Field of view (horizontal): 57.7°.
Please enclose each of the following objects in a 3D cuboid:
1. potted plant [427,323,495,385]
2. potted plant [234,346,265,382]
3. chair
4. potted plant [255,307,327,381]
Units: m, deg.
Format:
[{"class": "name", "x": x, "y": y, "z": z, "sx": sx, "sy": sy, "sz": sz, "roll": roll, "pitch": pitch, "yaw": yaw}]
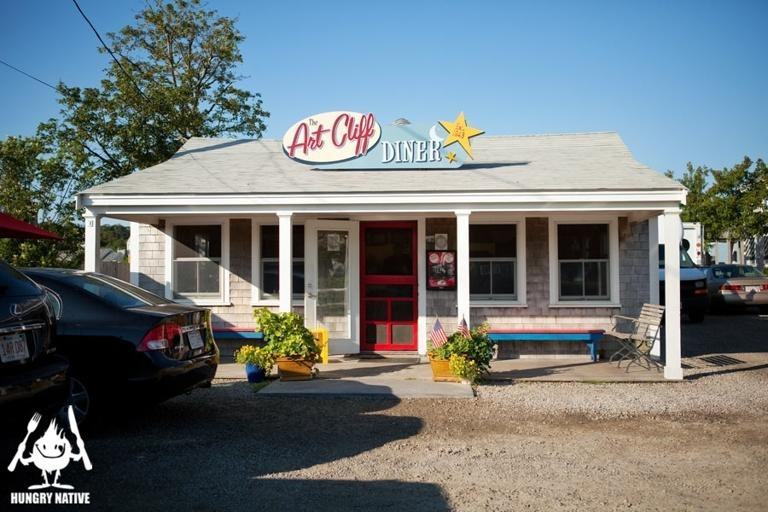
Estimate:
[{"class": "potted plant", "x": 1.373, "y": 1.752, "z": 12.295, "sx": 1.057, "sy": 0.816, "sz": 1.154, "roll": -1, "pitch": -3, "yaw": 10}, {"class": "potted plant", "x": -2.343, "y": 1.895, "z": 12.471, "sx": 0.718, "sy": 0.705, "sz": 0.577, "roll": 0, "pitch": -6, "yaw": -6}, {"class": "chair", "x": 5.153, "y": 1.605, "z": 13.813, "sx": 1.259, "sy": 1.686, "sz": 1.369, "roll": 0, "pitch": -2, "yaw": -4}, {"class": "potted plant", "x": -1.710, "y": 1.565, "z": 12.916, "sx": 1.729, "sy": 1.629, "sz": 1.130, "roll": 0, "pitch": -8, "yaw": -6}]
